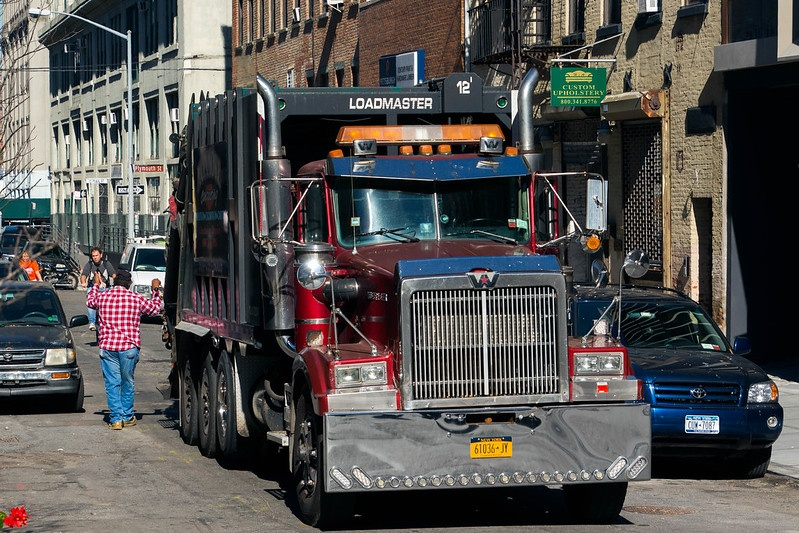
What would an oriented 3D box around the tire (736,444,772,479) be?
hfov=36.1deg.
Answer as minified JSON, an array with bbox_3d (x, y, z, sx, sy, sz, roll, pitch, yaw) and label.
[{"bbox_3d":[4.791,2.657,16.690,0.190,0.502,0.491,-3,3,-2],"label":"tire"}]

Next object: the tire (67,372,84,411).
[{"bbox_3d":[-5.464,2.106,20.522,0.213,0.675,0.658,1,-2,-10],"label":"tire"}]

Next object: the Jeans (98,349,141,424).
[{"bbox_3d":[-4.378,1.858,19.003,0.553,1.194,0.335,0,3,-14],"label":"Jeans"}]

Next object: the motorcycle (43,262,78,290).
[{"bbox_3d":[-12.516,0.344,44.957,1.208,0.565,0.938,5,-1,6],"label":"motorcycle"}]

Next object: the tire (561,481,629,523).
[{"bbox_3d":[2.246,2.739,14.257,0.487,0.395,0.709,14,9,0],"label":"tire"}]

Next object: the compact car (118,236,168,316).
[{"bbox_3d":[-6.953,0.285,34.909,2.011,1.903,3.651,0,-2,-20],"label":"compact car"}]

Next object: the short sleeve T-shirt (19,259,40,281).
[{"bbox_3d":[-8.493,0.121,27.950,0.437,0.454,0.254,-5,-7,-16],"label":"short sleeve T-shirt"}]

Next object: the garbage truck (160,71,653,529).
[{"bbox_3d":[-0.728,0.558,17.175,3.237,3.806,8.319,1,-3,-14],"label":"garbage truck"}]

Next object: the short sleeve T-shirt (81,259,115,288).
[{"bbox_3d":[-7.330,0.202,29.626,0.758,0.758,0.421,-1,-10,-3],"label":"short sleeve T-shirt"}]

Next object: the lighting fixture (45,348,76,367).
[{"bbox_3d":[-5.687,1.518,20.364,0.307,0.205,0.313,-2,-5,14],"label":"lighting fixture"}]

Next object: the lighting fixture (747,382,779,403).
[{"bbox_3d":[4.883,1.709,16.535,0.512,0.269,0.115,-1,4,-29],"label":"lighting fixture"}]

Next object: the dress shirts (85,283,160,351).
[{"bbox_3d":[-4.358,0.723,19.253,1.321,1.139,0.907,2,9,8],"label":"dress shirts"}]
